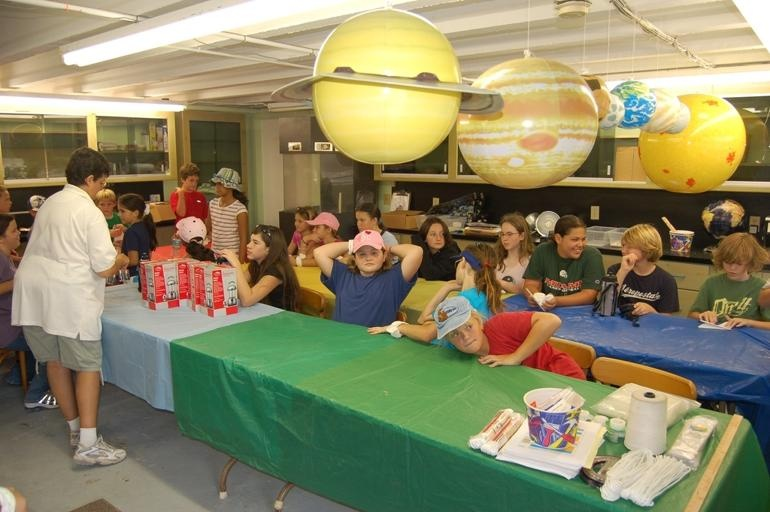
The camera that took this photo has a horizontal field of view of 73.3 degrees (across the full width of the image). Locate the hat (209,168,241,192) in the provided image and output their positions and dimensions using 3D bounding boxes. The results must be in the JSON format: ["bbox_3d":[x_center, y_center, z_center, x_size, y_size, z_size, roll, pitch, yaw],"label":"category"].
[{"bbox_3d":[-1.808,-0.863,5.862,0.320,0.177,0.301,-11,25,-44],"label":"hat"}]

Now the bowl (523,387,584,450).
[{"bbox_3d":[0.722,0.720,2.264,0.271,0.201,0.272,3,-3,0],"label":"bowl"}]

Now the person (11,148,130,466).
[{"bbox_3d":[-2.183,0.375,3.550,0.649,2.180,0.557,-7,16,-30],"label":"person"}]

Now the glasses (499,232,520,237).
[{"bbox_3d":[1.077,-0.195,4.460,0.159,0.066,0.080,4,14,10],"label":"glasses"}]

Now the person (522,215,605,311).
[{"bbox_3d":[1.459,0.020,4.245,0.721,1.024,0.725,1,14,14],"label":"person"}]

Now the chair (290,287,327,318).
[{"bbox_3d":[-0.639,0.374,4.398,0.252,0.364,0.257,2,2,20],"label":"chair"}]

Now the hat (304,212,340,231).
[{"bbox_3d":[-0.621,-0.355,5.302,0.277,0.151,0.185,7,2,-9],"label":"hat"}]

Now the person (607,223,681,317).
[{"bbox_3d":[1.930,0.119,3.956,0.517,0.710,0.553,4,0,-15],"label":"person"}]

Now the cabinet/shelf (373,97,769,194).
[{"bbox_3d":[2.316,-1.350,6.370,4.056,1.157,0.365,9,16,30],"label":"cabinet/shelf"}]

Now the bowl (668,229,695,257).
[{"bbox_3d":[3.213,-0.149,5.660,0.277,0.261,0.292,0,3,0],"label":"bowl"}]

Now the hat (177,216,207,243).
[{"bbox_3d":[-1.598,-0.250,4.260,0.177,0.154,0.245,-2,33,-32],"label":"hat"}]

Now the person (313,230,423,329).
[{"bbox_3d":[-0.146,0.468,4.031,0.760,1.479,0.431,1,28,-3],"label":"person"}]

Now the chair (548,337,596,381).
[{"bbox_3d":[1.195,0.597,3.241,0.242,0.290,0.223,-9,13,-39],"label":"chair"}]

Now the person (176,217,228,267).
[{"bbox_3d":[-1.492,-0.141,4.112,0.251,0.297,0.734,-7,15,-28],"label":"person"}]

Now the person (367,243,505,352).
[{"bbox_3d":[0.412,0.270,3.759,0.851,0.635,0.368,-4,-7,18],"label":"person"}]

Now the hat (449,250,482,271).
[{"bbox_3d":[0.598,0.037,3.753,0.143,0.076,0.126,45,13,22],"label":"hat"}]

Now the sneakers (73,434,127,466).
[{"bbox_3d":[-2.014,1.394,3.740,0.408,0.228,0.160,3,0,-19],"label":"sneakers"}]

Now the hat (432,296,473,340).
[{"bbox_3d":[0.368,0.299,2.838,0.239,0.167,0.318,-21,8,15],"label":"hat"}]

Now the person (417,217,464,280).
[{"bbox_3d":[0.485,-0.019,5.065,0.523,0.718,0.863,0,-5,8],"label":"person"}]
